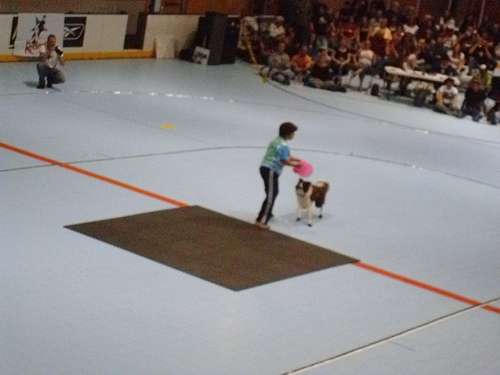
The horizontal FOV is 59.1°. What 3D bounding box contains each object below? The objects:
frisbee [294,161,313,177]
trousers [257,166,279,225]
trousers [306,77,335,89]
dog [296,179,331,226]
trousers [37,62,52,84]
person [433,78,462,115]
[{"bbox_3d":[0.878,-0.331,7.433,0.326,0.257,0.216,5,11,-10],"label":"frisbee"},{"bbox_3d":[0.301,0.115,7.271,0.332,1.084,0.276,6,2,32],"label":"trousers"},{"bbox_3d":[2.963,-4.481,19.068,0.726,0.298,0.581,5,4,10],"label":"trousers"},{"bbox_3d":[1.083,0.218,7.757,0.337,0.755,0.897,15,18,42],"label":"dog"},{"bbox_3d":[-6.164,-3.417,13.221,0.374,0.631,0.284,-2,14,-37],"label":"trousers"},{"bbox_3d":[7.925,-3.644,17.620,1.000,1.365,0.727,11,12,21],"label":"person"}]
